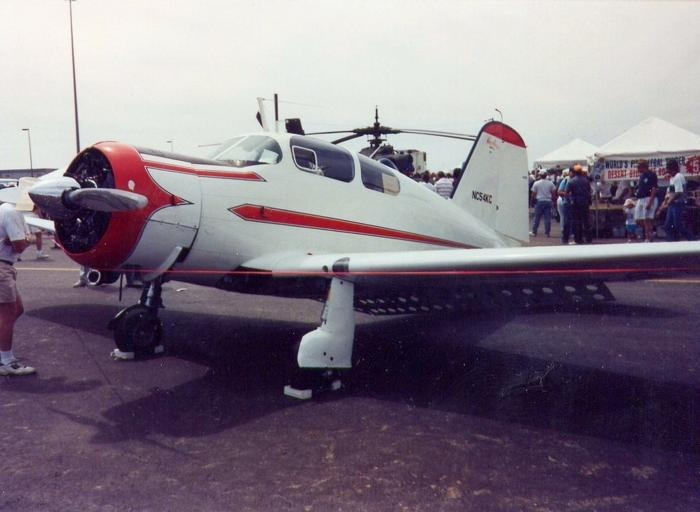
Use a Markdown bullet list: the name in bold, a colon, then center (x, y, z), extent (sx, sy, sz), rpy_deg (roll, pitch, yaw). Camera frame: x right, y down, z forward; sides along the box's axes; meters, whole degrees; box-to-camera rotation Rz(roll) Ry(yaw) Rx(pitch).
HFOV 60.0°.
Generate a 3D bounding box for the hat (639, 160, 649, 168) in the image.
- **hat**: center (5.434, -1.706, 11.160), extent (0.242, 0.093, 0.252), rpy_deg (-3, -2, 8)

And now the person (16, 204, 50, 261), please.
- **person**: center (-6.503, -0.615, 12.577), extent (0.484, 1.368, 0.500), rpy_deg (3, -18, 1)
